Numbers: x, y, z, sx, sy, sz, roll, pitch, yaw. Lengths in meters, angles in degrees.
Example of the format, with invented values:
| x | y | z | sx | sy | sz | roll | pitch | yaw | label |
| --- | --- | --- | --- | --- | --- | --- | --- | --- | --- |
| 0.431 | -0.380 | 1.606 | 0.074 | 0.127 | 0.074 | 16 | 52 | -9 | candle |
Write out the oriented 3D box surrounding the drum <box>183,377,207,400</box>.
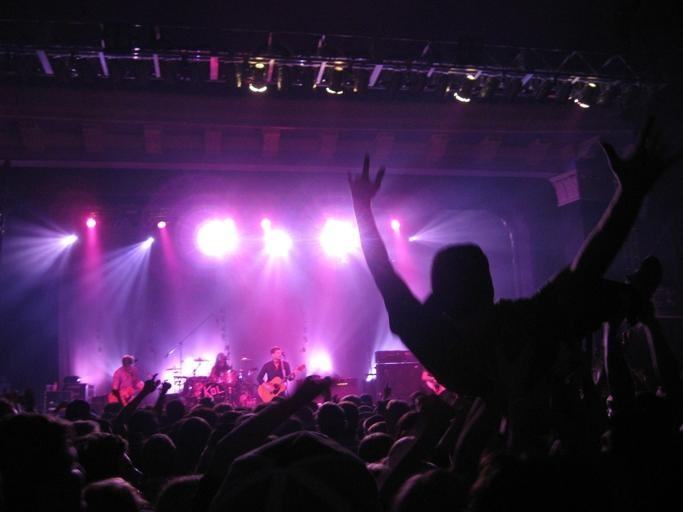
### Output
| x | y | z | sx | sy | sz | roll | pitch | yaw | label |
| --- | --- | --- | --- | --- | --- | --- | --- | --- | --- |
| -3.257 | 2.939 | 12.720 | 0.524 | 0.534 | 0.533 | -2 | -34 | -18 | drum |

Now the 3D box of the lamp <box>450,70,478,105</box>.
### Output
| x | y | z | sx | sy | sz | roll | pitch | yaw | label |
| --- | --- | --- | --- | --- | --- | --- | --- | --- | --- |
| 1.878 | -2.526 | 8.531 | 0.240 | 0.322 | 0.481 | 4 | -26 | -12 | lamp |

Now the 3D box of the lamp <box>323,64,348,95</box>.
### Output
| x | y | z | sx | sy | sz | roll | pitch | yaw | label |
| --- | --- | --- | --- | --- | --- | --- | --- | --- | --- |
| -0.056 | -2.542 | 8.232 | 0.314 | 0.206 | 0.623 | 0 | -13 | -6 | lamp |

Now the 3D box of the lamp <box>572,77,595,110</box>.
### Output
| x | y | z | sx | sy | sz | roll | pitch | yaw | label |
| --- | --- | --- | --- | --- | --- | --- | --- | --- | --- |
| 3.763 | -2.487 | 8.830 | 0.306 | 0.264 | 0.554 | -8 | 1 | 21 | lamp |
